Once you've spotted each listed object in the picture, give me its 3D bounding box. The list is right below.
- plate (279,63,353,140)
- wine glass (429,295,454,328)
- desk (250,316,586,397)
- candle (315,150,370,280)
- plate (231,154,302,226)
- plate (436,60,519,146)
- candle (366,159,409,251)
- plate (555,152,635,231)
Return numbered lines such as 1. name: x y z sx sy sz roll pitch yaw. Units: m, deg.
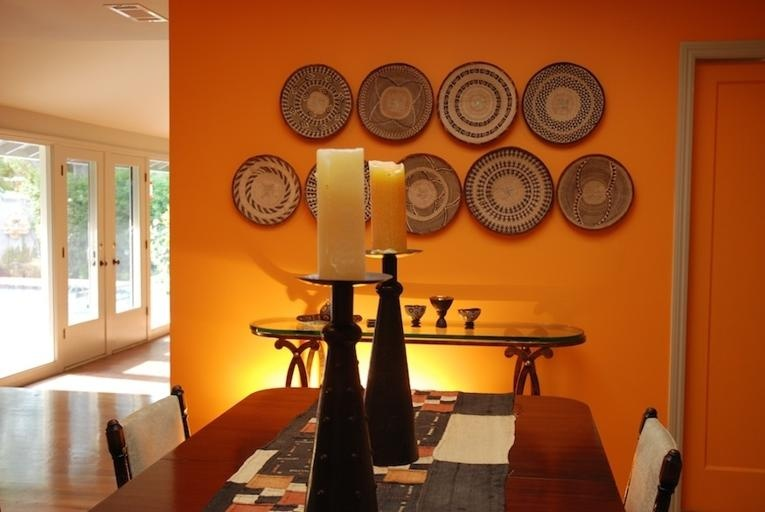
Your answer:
1. plate: -0.430 -0.992 4.167 0.449 0.455 0.100 2 12 13
2. wine glass: 0.348 0.334 3.861 0.164 0.211 0.160 1 1 -39
3. desk: 0.219 0.618 3.980 1.871 0.541 0.679 -1 11 -3
4. candle: -0.140 -0.139 2.170 0.146 0.422 0.109 0 11 4
5. plate: -0.753 -0.425 4.217 0.447 0.459 0.090 0 11 6
6. plate: 0.585 -0.965 4.054 0.470 0.489 0.102 -1 11 -1
7. candle: 0.020 -0.193 2.470 0.125 0.329 0.084 -2 11 -8
8. plate: 1.327 -0.402 3.994 0.437 0.459 0.065 -4 2 6
